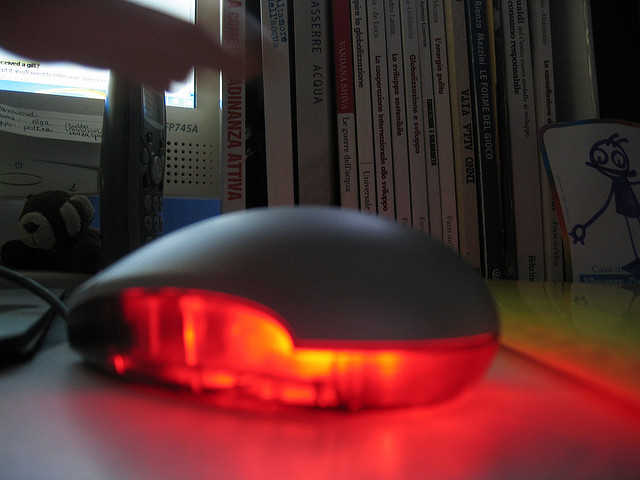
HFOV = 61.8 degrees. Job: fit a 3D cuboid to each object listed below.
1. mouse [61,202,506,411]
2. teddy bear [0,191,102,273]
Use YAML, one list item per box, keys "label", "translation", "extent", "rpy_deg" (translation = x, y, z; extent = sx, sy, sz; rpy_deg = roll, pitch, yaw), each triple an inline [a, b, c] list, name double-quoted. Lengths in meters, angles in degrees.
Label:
- label: "mouse"
  translation: [-0.042, 0.045, 0.398]
  extent: [0.350, 0.127, 0.081]
  rpy_deg: [1, 11, 6]
- label: "teddy bear"
  translation: [-0.358, -0.034, 0.732]
  extent: [0.123, 0.079, 0.172]
  rpy_deg: [-2, 10, -33]
